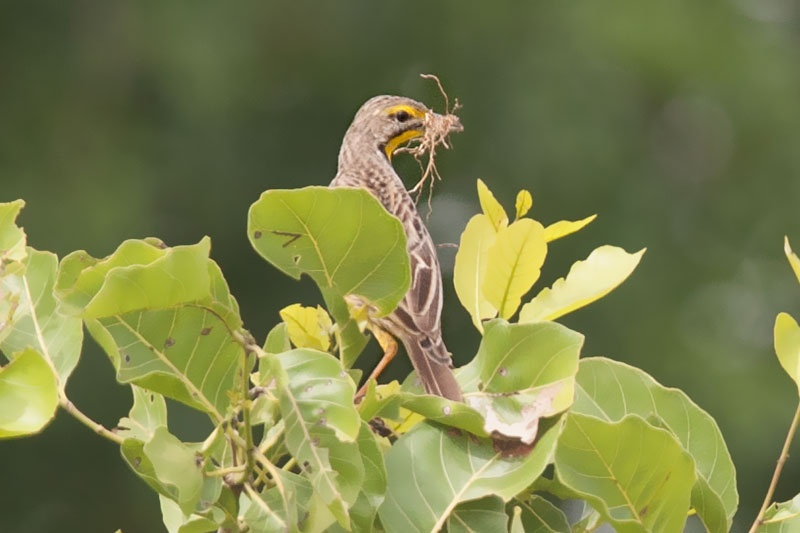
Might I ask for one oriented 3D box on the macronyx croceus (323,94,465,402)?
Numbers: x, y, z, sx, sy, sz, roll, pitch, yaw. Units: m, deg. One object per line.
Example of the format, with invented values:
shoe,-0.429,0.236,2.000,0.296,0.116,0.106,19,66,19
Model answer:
macronyx croceus,-0.025,-0.067,2.747,0.268,0.858,0.575,-3,-10,-3
